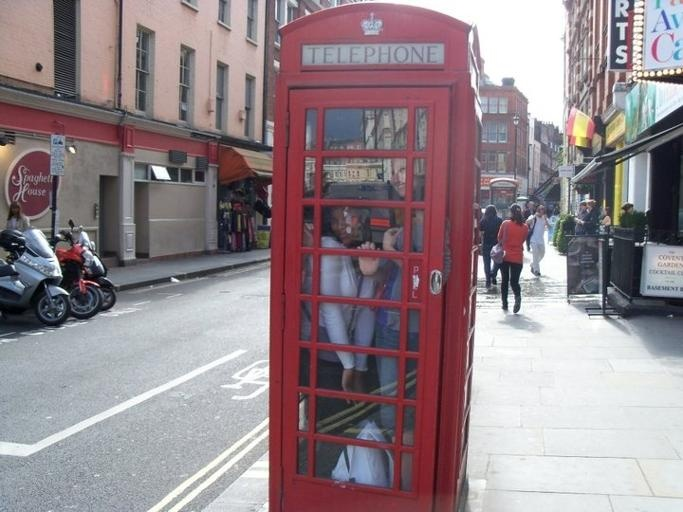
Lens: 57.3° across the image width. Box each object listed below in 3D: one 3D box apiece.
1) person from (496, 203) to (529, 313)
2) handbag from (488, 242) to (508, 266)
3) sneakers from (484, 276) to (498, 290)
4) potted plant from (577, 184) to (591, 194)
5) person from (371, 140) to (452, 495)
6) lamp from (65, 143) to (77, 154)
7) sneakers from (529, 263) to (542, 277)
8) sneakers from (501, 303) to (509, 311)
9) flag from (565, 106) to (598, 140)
[{"bbox_3d":[3.476,0.027,12.721,0.561,2.161,0.968,2,8,17],"label":"person"},{"bbox_3d":[3.137,-0.065,12.673,0.297,0.638,0.443,0,3,-8],"label":"handbag"},{"bbox_3d":[3.882,0.702,16.261,0.201,0.398,0.108,14,-22,-18],"label":"sneakers"},{"bbox_3d":[11.368,-3.180,29.436,0.535,0.240,0.648,12,-12,-37],"label":"potted plant"},{"bbox_3d":[0.499,0.452,4.405,0.535,2.428,0.232,0,7,3],"label":"person"},{"bbox_3d":[-7.564,-3.004,17.464,0.138,0.187,0.261,-4,-2,-38],"label":"lamp"},{"bbox_3d":[5.908,0.433,18.966,0.180,0.272,0.637,-5,-13,8],"label":"sneakers"},{"bbox_3d":[3.352,1.026,12.789,0.112,0.242,0.121,-4,1,15],"label":"sneakers"},{"bbox_3d":[9.672,-5.384,25.251,0.930,1.183,1.158,3,8,25],"label":"flag"}]
